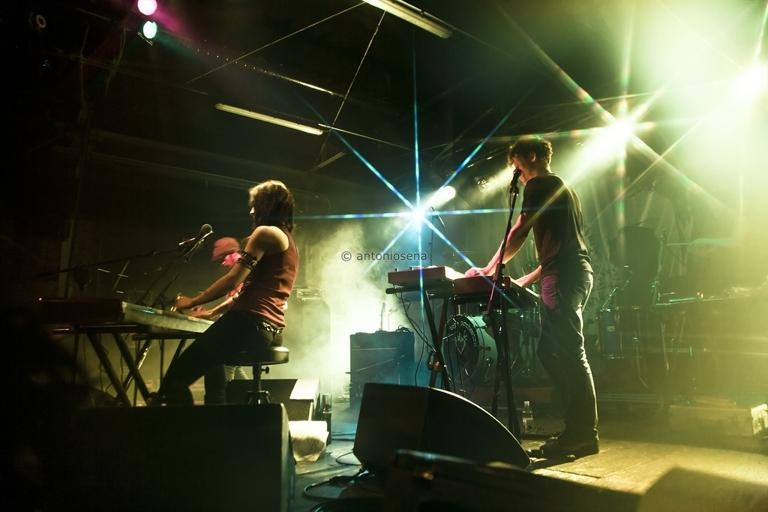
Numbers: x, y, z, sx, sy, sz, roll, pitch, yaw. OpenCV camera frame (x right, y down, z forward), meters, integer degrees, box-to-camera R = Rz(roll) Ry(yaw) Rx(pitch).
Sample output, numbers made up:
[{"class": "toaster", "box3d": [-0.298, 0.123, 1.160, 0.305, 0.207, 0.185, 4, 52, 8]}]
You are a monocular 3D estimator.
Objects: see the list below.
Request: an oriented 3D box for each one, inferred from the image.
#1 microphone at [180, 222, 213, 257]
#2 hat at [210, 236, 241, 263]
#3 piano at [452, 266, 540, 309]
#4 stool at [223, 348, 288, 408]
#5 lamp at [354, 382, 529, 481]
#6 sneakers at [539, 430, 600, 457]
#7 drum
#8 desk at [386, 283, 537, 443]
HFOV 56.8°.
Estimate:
[{"class": "microphone", "box3d": [-1.950, -0.224, 7.566, 0.201, 0.515, 0.140, 33, -44, 13]}, {"class": "hat", "box3d": [-2.580, -0.106, 11.502, 0.391, 0.461, 0.364, -6, -1, 9]}, {"class": "piano", "box3d": [1.089, 0.362, 7.177, 0.797, 0.326, 0.520, -9, -14, 26]}, {"class": "stool", "box3d": [-1.242, 1.239, 7.052, 0.591, 0.666, 0.598, 5, -26, -14]}, {"class": "lamp", "box3d": [0.500, 1.738, 6.784, 1.137, 0.965, 1.432, 4, -13, -26]}, {"class": "sneakers", "box3d": [1.809, 1.860, 7.027, 0.602, 0.271, 0.228, 0, -13, 1]}, {"class": "drum", "box3d": [1.243, 1.248, 10.170, 0.494, 0.834, 0.820, -5, -4, -42]}, {"class": "desk", "box3d": [0.919, 1.094, 7.762, 1.402, 1.918, 1.396, -3, -10, 33]}]
